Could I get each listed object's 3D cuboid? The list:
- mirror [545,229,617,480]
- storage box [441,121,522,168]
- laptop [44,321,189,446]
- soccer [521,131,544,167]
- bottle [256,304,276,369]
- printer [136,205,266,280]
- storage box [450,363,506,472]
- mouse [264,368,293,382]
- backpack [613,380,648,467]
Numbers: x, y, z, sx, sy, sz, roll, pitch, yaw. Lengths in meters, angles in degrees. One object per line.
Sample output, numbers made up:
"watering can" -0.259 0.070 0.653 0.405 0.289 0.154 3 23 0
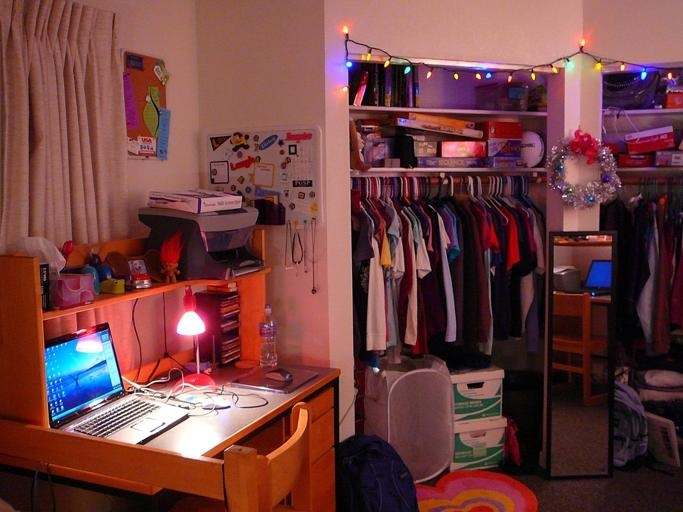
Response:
"mirror" 1.629 0.662 3.936 0.516 1.654 0.335 -2 7 12
"storage box" 1.027 -0.820 4.293 0.668 0.340 0.192 -6 8 -18
"laptop" -0.996 0.553 2.554 0.447 0.437 0.507 0 8 25
"soccer" 1.423 -0.814 4.438 0.216 0.298 0.240 3 8 27
"bottle" -0.428 0.448 3.365 0.110 0.395 0.317 -4 7 -7
"printer" -0.757 -0.149 3.053 0.424 0.300 0.457 3 7 21
"storage box" 0.949 1.150 4.092 0.440 0.691 0.129 -5 7 -11
"mouse" -0.333 0.626 3.085 0.105 0.037 0.062 2 4 30
"backpack" 2.009 1.196 4.141 0.339 0.471 0.138 1 4 -11
